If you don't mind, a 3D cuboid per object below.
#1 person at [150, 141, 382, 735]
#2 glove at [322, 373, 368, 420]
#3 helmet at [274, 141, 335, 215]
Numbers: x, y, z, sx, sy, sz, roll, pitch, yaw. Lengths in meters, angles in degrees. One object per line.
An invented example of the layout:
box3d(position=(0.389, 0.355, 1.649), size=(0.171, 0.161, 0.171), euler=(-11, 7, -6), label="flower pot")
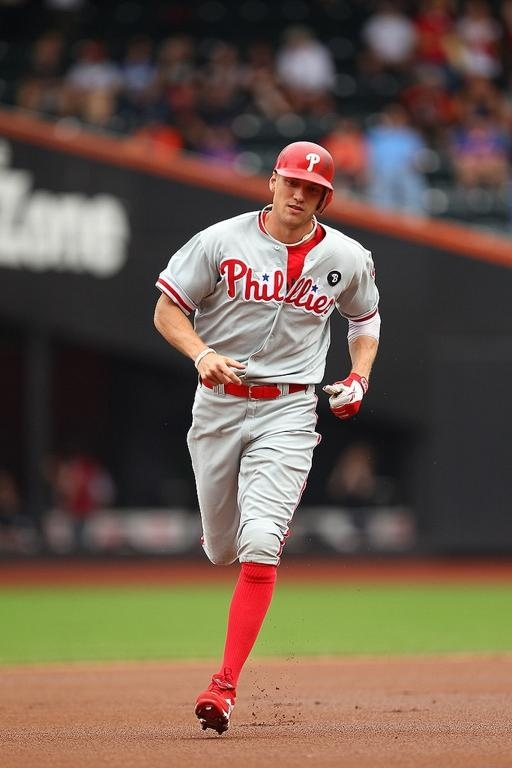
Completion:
box3d(position=(-0.015, 0.093, 2.633), size=(0.557, 1.548, 0.995), euler=(3, 7, 23), label="person")
box3d(position=(0.268, 0.020, 2.641), size=(0.080, 0.149, 0.111), euler=(4, -34, 48), label="glove")
box3d(position=(0.141, -0.593, 2.589), size=(0.143, 0.100, 0.186), euler=(20, 4, -12), label="helmet")
